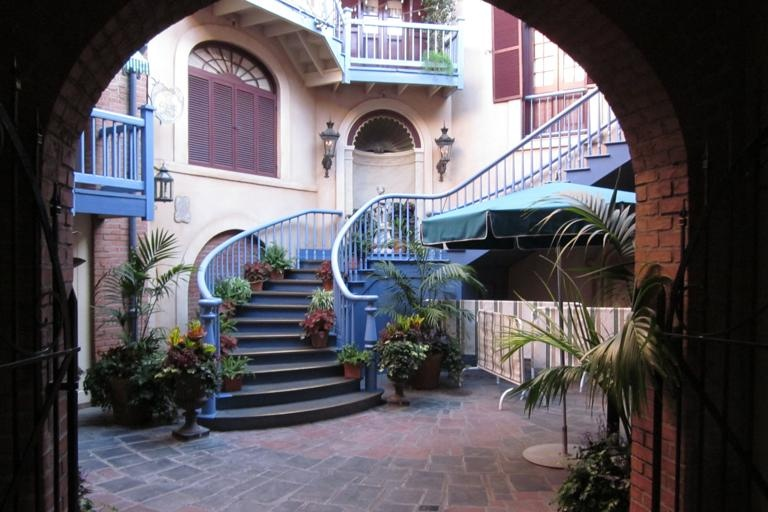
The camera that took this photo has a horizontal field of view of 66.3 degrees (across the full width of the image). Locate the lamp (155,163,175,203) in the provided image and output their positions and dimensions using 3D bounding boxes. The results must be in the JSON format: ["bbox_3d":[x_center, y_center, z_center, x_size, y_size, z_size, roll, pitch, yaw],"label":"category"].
[{"bbox_3d":[-3.536,-1.178,9.387,0.253,0.583,0.355,-2,3,-21],"label":"lamp"}]

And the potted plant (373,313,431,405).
[{"bbox_3d":[0.244,1.421,8.148,0.898,1.531,1.007,1,-6,5],"label":"potted plant"}]

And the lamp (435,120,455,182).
[{"bbox_3d":[1.315,-2.220,12.722,0.401,1.180,0.599,0,3,7],"label":"lamp"}]

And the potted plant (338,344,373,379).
[{"bbox_3d":[-0.415,1.479,8.352,0.443,0.414,0.440,1,-6,8],"label":"potted plant"}]

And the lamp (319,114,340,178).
[{"bbox_3d":[-1.141,-2.246,12.266,0.414,1.180,0.703,-1,3,-6],"label":"lamp"}]

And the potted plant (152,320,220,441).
[{"bbox_3d":[-2.244,1.463,6.972,0.754,1.291,0.729,-5,-9,6],"label":"potted plant"}]
